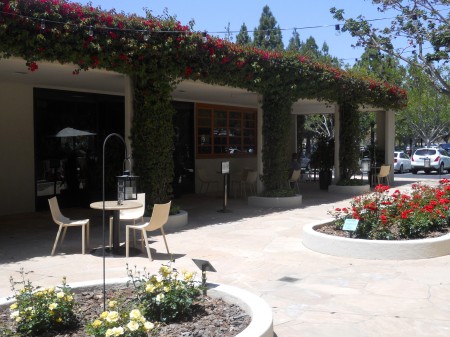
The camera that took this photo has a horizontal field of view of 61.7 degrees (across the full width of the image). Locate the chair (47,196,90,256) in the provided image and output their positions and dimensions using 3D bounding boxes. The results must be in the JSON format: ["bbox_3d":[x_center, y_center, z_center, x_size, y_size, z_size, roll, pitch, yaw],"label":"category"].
[{"bbox_3d":[-2.743,1.012,6.710,0.577,0.979,0.602,0,3,-9],"label":"chair"}]
